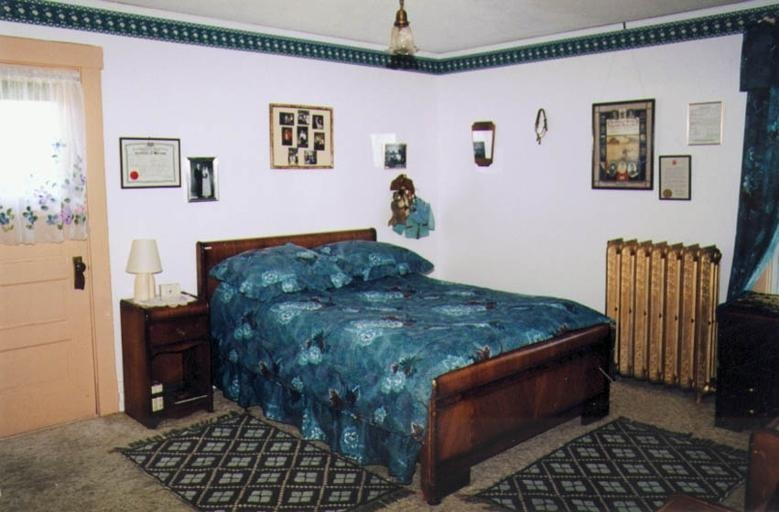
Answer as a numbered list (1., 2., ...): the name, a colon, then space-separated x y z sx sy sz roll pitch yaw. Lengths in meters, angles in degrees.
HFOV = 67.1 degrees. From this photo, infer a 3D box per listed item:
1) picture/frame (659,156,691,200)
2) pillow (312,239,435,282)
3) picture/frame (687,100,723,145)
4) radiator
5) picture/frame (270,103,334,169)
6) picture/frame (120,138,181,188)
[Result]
1. picture/frame: 3.286 -0.911 6.752 0.448 0.662 0.046 8 13 43
2. pillow: -0.152 0.032 7.181 0.813 0.198 0.720 -4 18 -31
3. picture/frame: 3.531 -1.499 6.559 0.466 0.648 0.024 8 13 40
4. radiator: 3.116 0.718 6.591 1.542 2.038 0.376 7 12 40
5. picture/frame: -1.137 -1.523 7.374 0.853 0.733 0.056 -5 11 -35
6. picture/frame: -2.641 -1.027 6.416 0.547 0.475 0.054 -5 9 -34
